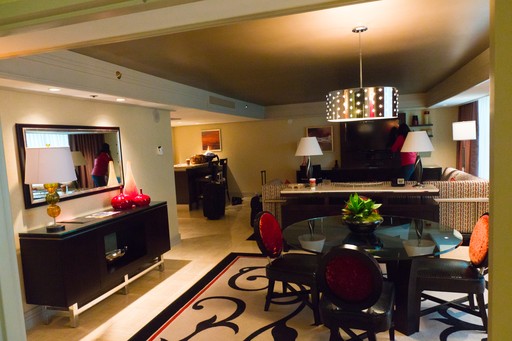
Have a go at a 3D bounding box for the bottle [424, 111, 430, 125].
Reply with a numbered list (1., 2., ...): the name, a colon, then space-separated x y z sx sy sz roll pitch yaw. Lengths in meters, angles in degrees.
1. bottle: 4.260 -1.335 9.213 0.120 0.345 0.236 -1 11 35

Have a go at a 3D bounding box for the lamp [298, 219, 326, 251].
1. lamp: 0.611 0.738 3.958 0.191 0.264 0.197 -5 3 -39

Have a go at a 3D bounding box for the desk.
1. desk: -1.297 0.272 9.357 1.184 0.984 2.049 1 4 16

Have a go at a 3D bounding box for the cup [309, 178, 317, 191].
1. cup: 0.928 0.232 6.067 0.168 0.212 0.163 1 1 0

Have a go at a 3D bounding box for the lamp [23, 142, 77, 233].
1. lamp: -2.345 0.205 4.202 0.501 0.966 0.358 -5 10 20

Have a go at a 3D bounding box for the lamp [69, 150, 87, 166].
1. lamp: -2.303 -0.154 4.784 0.162 0.133 0.162 -3 8 28

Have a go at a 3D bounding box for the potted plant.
1. potted plant: 1.177 0.474 4.157 0.432 0.340 0.453 1 -2 -9

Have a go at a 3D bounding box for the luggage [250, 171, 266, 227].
1. luggage: -0.011 0.521 7.364 0.342 0.943 0.340 -2 19 -6

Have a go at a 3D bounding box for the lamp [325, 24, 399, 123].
1. lamp: 1.345 -1.137 4.812 1.029 1.103 0.990 -1 1 -23

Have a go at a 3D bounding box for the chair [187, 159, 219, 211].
1. chair: -1.272 0.390 8.924 0.381 0.724 1.282 2 6 14

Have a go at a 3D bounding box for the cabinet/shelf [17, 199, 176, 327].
1. cabinet/shelf: -1.997 1.151 4.488 0.382 0.694 1.476 -1 3 13

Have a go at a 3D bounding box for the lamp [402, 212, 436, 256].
1. lamp: 1.663 0.699 3.724 0.277 0.334 0.263 -1 0 1

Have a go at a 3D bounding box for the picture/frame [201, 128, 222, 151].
1. picture/frame: -1.280 -0.931 10.735 0.689 0.701 0.049 0 3 8

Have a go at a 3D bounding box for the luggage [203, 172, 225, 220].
1. luggage: -0.917 0.600 8.361 0.366 0.990 0.570 1 13 45
